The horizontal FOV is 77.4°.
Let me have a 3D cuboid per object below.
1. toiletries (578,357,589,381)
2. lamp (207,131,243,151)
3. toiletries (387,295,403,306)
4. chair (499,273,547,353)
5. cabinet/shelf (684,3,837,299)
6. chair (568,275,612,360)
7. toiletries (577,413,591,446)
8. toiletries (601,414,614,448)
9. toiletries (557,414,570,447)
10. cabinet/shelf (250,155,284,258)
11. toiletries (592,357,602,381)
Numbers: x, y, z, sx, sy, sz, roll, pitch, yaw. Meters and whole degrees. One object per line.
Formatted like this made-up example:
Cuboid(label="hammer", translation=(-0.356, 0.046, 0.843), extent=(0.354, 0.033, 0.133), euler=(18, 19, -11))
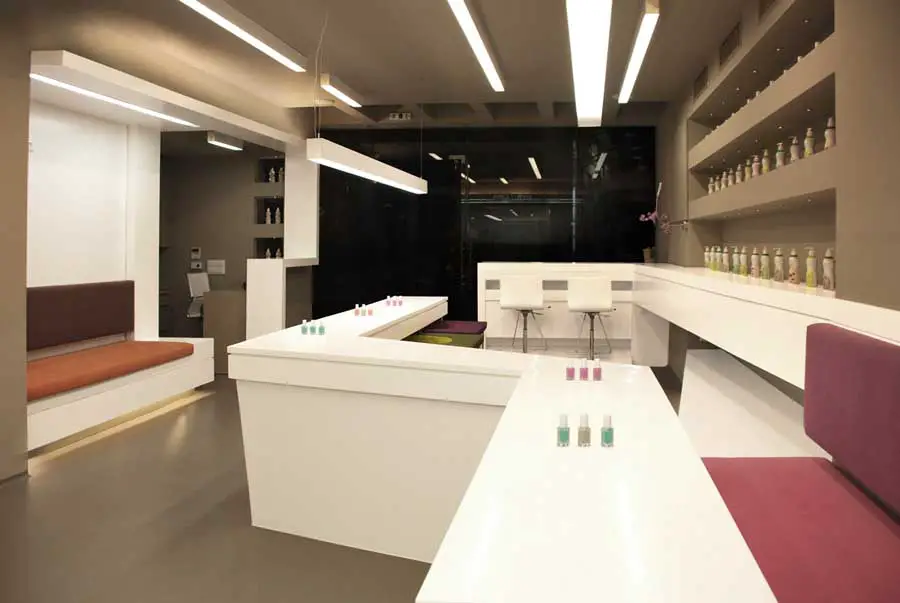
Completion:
Cuboid(label="toiletries", translation=(0.837, 0.427, 3.524), extent=(0.060, 0.119, 0.114), euler=(2, 6, 12))
Cuboid(label="lamp", translation=(-2.964, -2.101, 7.448), extent=(0.375, 0.128, 1.072), euler=(-1, 6, -18))
Cuboid(label="toiletries", translation=(-0.578, -0.005, 5.978), extent=(0.138, 0.091, 0.145), euler=(0, -1, 1))
Cuboid(label="chair", translation=(0.985, 0.178, 7.713), extent=(0.556, 1.108, 0.780), euler=(1, 5, 10))
Cuboid(label="cabinet/shelf", translation=(2.890, -1.401, 5.222), extent=(0.756, 2.381, 3.019), euler=(2, 6, 14))
Cuboid(label="chair", translation=(1.895, 0.228, 7.576), extent=(0.543, 1.159, 0.922), euler=(2, 6, 16))
Cuboid(label="toiletries", translation=(0.679, 0.643, 2.847), extent=(0.063, 0.156, 0.114), euler=(2, 6, 15))
Cuboid(label="toiletries", translation=(0.814, 0.643, 2.868), extent=(0.060, 0.153, 0.175), euler=(3, 6, 25))
Cuboid(label="toiletries", translation=(0.574, 0.647, 2.844), extent=(0.067, 0.147, 0.107), euler=(2, 5, 12))
Cuboid(label="cabinet/shelf", translation=(-2.656, -1.386, 8.314), extent=(0.486, 1.448, 0.437), euler=(0, 5, -3))
Cuboid(label="toiletries", translation=(0.925, 0.424, 3.540), extent=(0.060, 0.118, 0.164), euler=(2, 6, 16))
